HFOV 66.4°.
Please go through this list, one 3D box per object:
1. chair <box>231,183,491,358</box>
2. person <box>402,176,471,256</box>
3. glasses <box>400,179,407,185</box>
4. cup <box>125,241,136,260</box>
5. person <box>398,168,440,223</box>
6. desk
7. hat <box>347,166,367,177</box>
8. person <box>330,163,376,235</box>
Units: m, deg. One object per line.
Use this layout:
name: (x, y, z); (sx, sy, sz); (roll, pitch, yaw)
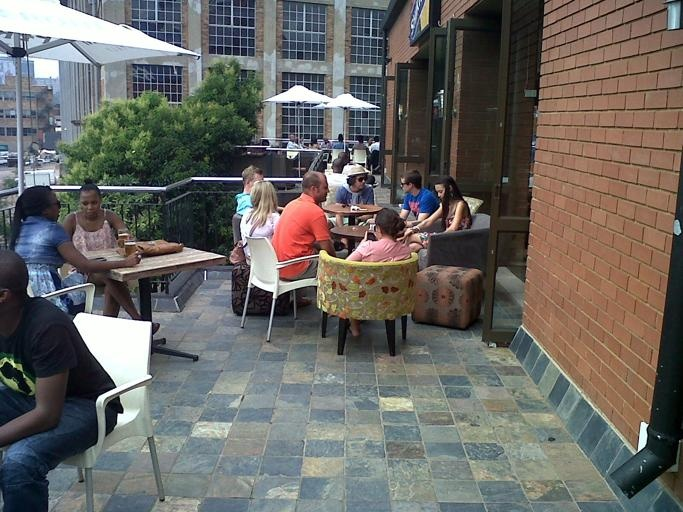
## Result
chair: (-0.091, 0.207, 5.758); (1.813, 1.486, 1.268); (2, 9, 10)
person: (1.181, -0.436, 7.008); (1.234, 1.212, 0.587); (-4, 7, -13)
glasses: (0.903, -1.083, 7.523); (0.057, 0.070, 0.077); (8, 51, 3)
cup: (-1.922, -0.053, 4.729); (0.132, 0.211, 0.134); (0, 7, 0)
person: (1.118, -0.848, 7.681); (0.583, 0.812, 0.654); (-18, 15, -31)
desk: (-1.873, 0.423, 5.164); (1.105, 1.026, 1.129); (9, 14, 38)
hat: (0.297, -1.403, 8.544); (0.269, 0.177, 0.630); (6, 15, 21)
person: (0.258, -0.941, 8.324); (0.830, 1.143, 0.897); (-5, 24, -14)
